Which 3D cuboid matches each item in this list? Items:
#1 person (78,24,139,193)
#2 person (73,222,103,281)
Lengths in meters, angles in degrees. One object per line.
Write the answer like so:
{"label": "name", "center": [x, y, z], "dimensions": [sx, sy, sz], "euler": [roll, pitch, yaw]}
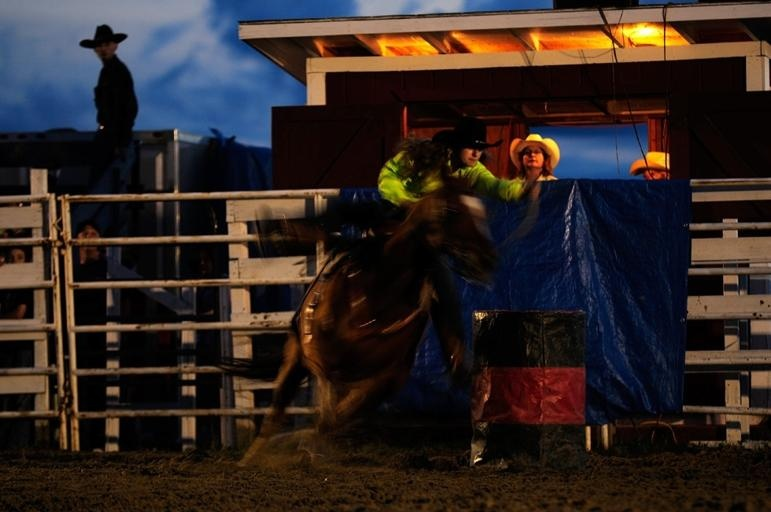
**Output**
{"label": "person", "center": [-3.554, -1.937, 27.548], "dimensions": [0.604, 2.164, 0.490], "euler": [-1, -6, -8]}
{"label": "person", "center": [-3.746, -0.023, 26.852], "dimensions": [0.371, 0.809, 0.574], "euler": [-1, -6, -13]}
